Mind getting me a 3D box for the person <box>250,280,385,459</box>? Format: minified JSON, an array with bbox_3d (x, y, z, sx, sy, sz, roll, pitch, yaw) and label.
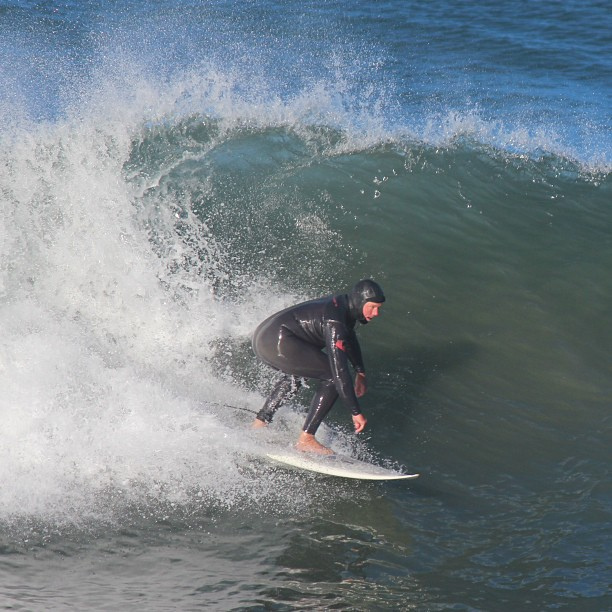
[{"bbox_3d":[0.122,0.715,10.076,1.399,1.736,0.883,11,34,-4],"label":"person"}]
